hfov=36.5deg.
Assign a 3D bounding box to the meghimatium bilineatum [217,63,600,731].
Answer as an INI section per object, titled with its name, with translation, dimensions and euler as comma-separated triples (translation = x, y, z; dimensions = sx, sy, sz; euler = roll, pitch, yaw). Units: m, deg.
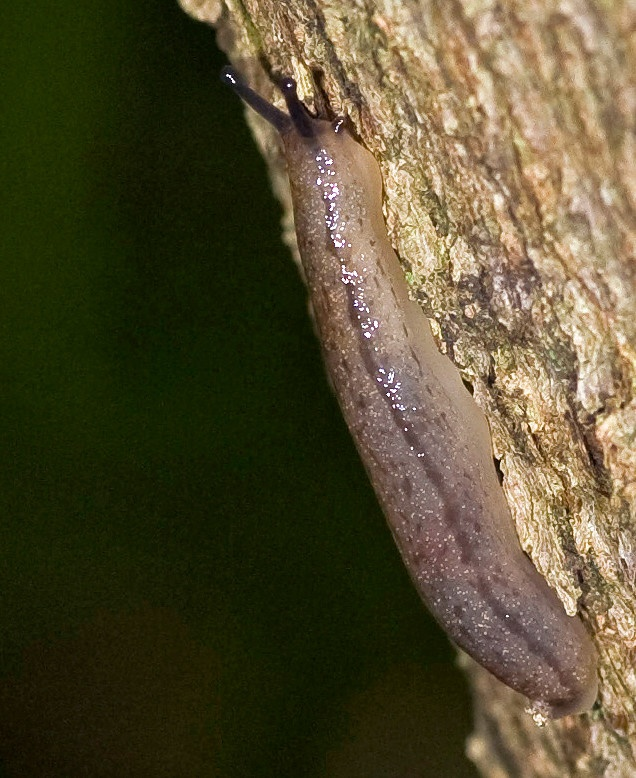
[meghimatium bilineatum]
translation = 0.118, 0.036, 1.319
dimensions = 0.264, 1.002, 0.187
euler = -24, 9, -3
